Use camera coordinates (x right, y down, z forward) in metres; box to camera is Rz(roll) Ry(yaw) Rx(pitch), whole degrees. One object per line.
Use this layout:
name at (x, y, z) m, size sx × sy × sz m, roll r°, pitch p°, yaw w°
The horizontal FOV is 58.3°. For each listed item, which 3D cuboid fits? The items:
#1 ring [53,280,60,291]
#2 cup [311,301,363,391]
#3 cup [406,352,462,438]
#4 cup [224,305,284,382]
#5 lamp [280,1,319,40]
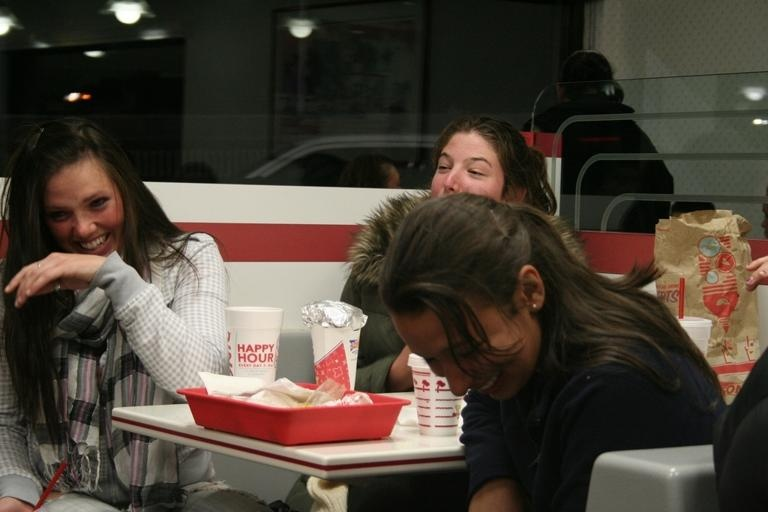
ring at (-1.042, 0.096, 2.196) m, size 0.009 × 0.031 × 0.031 m, roll 9°, pitch -5°, yaw -1°
cup at (-0.147, 0.292, 2.237) m, size 0.175 × 0.260 × 0.168 m, roll 0°, pitch 4°, yaw 0°
cup at (0.134, 0.388, 1.922) m, size 0.197 × 0.186 × 0.199 m, roll -2°, pitch -4°, yaw 0°
cup at (-0.390, 0.287, 2.246) m, size 0.239 × 0.290 × 0.209 m, roll 1°, pitch -6°, yaw -7°
lamp at (-0.470, -1.303, 3.829) m, size 0.161 × 0.215 × 0.174 m, roll 1°, pitch 5°, yaw -9°
